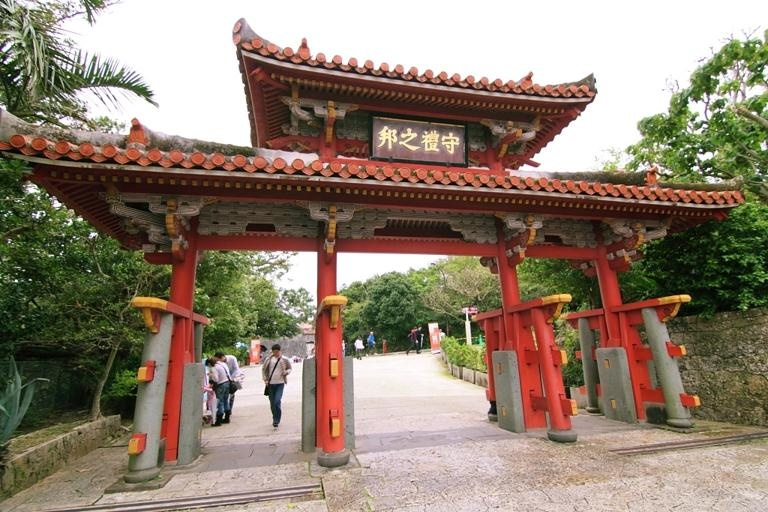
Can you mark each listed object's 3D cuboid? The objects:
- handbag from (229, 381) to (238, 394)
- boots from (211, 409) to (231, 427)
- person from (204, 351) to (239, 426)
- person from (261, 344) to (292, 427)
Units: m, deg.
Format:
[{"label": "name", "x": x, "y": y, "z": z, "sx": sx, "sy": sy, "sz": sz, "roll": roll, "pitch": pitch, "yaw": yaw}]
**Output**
[{"label": "handbag", "x": -4.139, "y": 3.575, "z": 13.683, "sx": 0.338, "sy": 0.307, "sz": 0.378, "roll": 0, "pitch": 0, "yaw": -4}, {"label": "boots", "x": -4.251, "y": 4.244, "z": 12.993, "sx": 0.218, "sy": 0.395, "sz": 0.552, "roll": 3, "pitch": 0, "yaw": -8}, {"label": "person", "x": -4.321, "y": 3.485, "z": 13.111, "sx": 0.629, "sy": 1.768, "sz": 0.946, "roll": -3, "pitch": 6, "yaw": -11}, {"label": "person", "x": -2.675, "y": 3.200, "z": 12.358, "sx": 0.658, "sy": 2.127, "sz": 1.247, "roll": -3, "pitch": 6, "yaw": -12}]
